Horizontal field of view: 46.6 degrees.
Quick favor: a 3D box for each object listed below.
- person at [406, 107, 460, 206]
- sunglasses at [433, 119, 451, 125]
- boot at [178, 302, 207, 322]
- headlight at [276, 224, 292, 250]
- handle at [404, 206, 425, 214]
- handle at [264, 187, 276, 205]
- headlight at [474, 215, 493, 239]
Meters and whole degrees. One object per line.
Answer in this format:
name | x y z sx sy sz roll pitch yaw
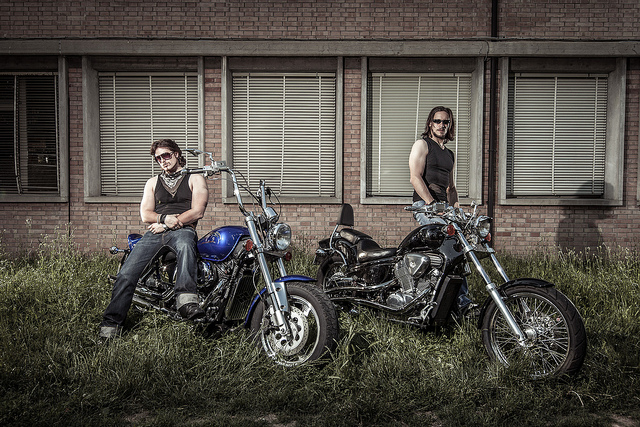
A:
person | 1.664 -0.833 10.827 0.455 1.439 0.795 7 11 39
sunglasses | 1.767 -1.348 10.805 0.235 0.074 0.081 2 9 8
boot | -1.720 1.305 9.865 0.407 0.211 0.183 -5 -2 29
headlight | -0.448 0.306 9.725 0.122 0.339 0.261 6 10 35
handle | 1.360 -0.064 10.590 0.311 0.081 0.095 6 -11 -28
handle | -0.748 -0.258 11.103 0.100 0.324 0.229 -2 9 2
headlight | 2.176 0.181 9.848 0.151 0.288 0.305 8 12 43
